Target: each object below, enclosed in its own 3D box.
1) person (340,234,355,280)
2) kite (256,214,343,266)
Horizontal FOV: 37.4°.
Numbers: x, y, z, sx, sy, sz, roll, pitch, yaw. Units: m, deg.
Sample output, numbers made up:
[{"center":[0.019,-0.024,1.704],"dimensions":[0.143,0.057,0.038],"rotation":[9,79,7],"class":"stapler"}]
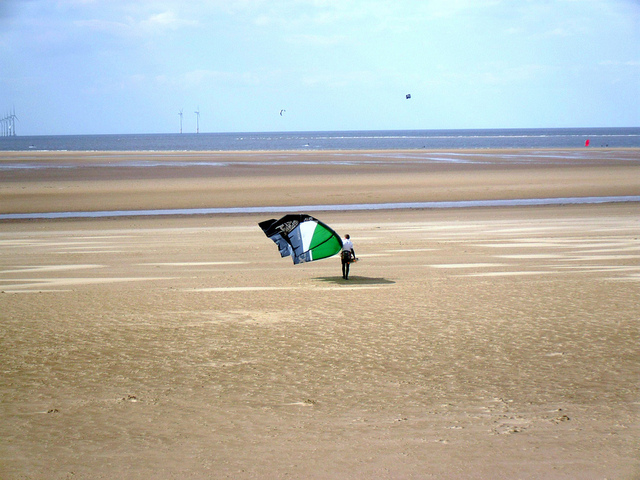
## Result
[{"center":[0.928,0.561,32.184],"dimensions":[0.437,1.503,0.870],"rotation":[-5,14,0],"class":"person"},{"center":[-0.973,-0.167,32.804],"dimensions":[3.020,1.496,2.732],"rotation":[2,8,29],"class":"kite"}]
